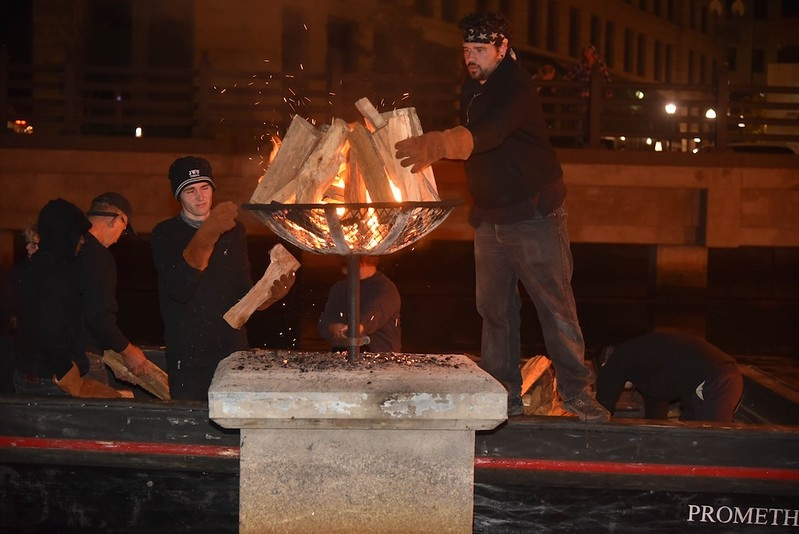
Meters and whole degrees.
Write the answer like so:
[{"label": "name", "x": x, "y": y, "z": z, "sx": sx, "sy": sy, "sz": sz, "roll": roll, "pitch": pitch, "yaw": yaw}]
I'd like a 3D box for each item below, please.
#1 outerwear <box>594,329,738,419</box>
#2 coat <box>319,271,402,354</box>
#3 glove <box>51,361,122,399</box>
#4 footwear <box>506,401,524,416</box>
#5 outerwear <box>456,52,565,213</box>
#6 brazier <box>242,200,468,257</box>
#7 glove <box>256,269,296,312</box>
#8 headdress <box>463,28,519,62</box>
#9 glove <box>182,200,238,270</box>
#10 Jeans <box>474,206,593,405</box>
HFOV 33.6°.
[{"label": "outerwear", "x": 4.352, "y": 1.823, "z": 21.019, "sx": 1.760, "sy": 1.809, "sz": 1.390, "roll": 16, "pitch": 2, "yaw": 21}, {"label": "coat", "x": -0.607, "y": 0.765, "z": 20.745, "sx": 1.186, "sy": 1.506, "sz": 1.332, "roll": -5, "pitch": 11, "yaw": -36}, {"label": "glove", "x": -4.719, "y": 1.745, "z": 19.956, "sx": 1.023, "sy": 0.401, "sz": 0.516, "roll": 7, "pitch": 23, "yaw": -17}, {"label": "footwear", "x": 1.673, "y": 2.064, "z": 19.450, "sx": 0.217, "sy": 0.211, "sz": 0.216, "roll": -2, "pitch": 3, "yaw": -1}, {"label": "outerwear", "x": 1.566, "y": -1.843, "z": 18.922, "sx": 1.492, "sy": 2.441, "sz": 1.126, "roll": 3, "pitch": 5, "yaw": 2}, {"label": "brazier", "x": -0.483, "y": -0.543, "z": 18.864, "sx": 2.752, "sy": 0.753, "sz": 2.882, "roll": -1, "pitch": -1, "yaw": 20}, {"label": "glove", "x": -1.815, "y": 0.296, "z": 19.101, "sx": 0.465, "sy": 0.534, "sz": 0.549, "roll": 2, "pitch": 5, "yaw": -4}, {"label": "headdress", "x": 1.250, "y": -3.232, "z": 19.096, "sx": 0.580, "sy": 0.212, "sz": 0.433, "roll": 0, "pitch": 11, "yaw": -31}, {"label": "glove", "x": -2.816, "y": -0.471, "z": 19.182, "sx": 0.297, "sy": 0.340, "sz": 0.945, "roll": -19, "pitch": -18, "yaw": -40}, {"label": "Jeans", "x": 1.868, "y": 0.542, "z": 19.378, "sx": 1.663, "sy": 2.850, "sz": 0.474, "roll": 3, "pitch": 5, "yaw": 2}]
